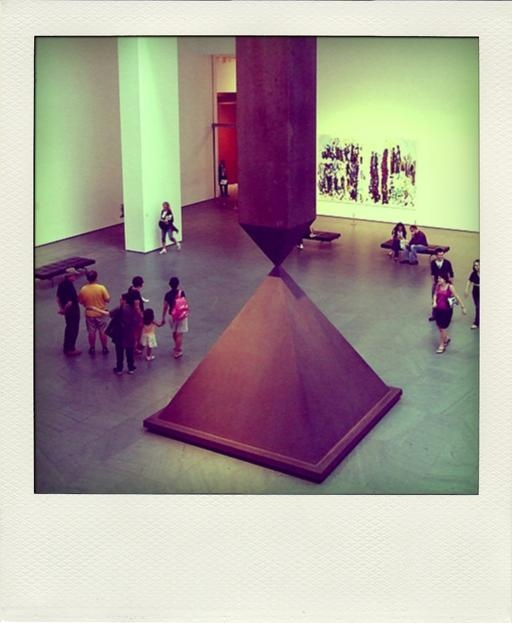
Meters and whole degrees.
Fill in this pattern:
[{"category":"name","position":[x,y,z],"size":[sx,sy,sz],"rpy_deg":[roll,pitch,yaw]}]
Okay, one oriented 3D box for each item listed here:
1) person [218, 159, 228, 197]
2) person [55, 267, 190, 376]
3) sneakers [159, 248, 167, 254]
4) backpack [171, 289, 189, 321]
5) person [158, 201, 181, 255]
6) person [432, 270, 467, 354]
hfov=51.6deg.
[{"category":"person","position":[-1.028,-4.127,16.456],"size":[0.267,1.135,0.603],"rpy_deg":[-1,10,4]},{"category":"person","position":[-1.728,0.167,6.806],"size":[0.947,1.061,0.515],"rpy_deg":[17,33,22]},{"category":"sneakers","position":[-1.980,-1.302,11.387],"size":[0.078,0.146,0.166],"rpy_deg":[5,6,43]},{"category":"backpack","position":[-0.889,-0.062,6.105],"size":[0.191,0.380,0.266],"rpy_deg":[-3,10,-10]},{"category":"person","position":[-1.888,-1.826,11.488],"size":[0.437,1.063,1.015],"rpy_deg":[-3,10,-8]},{"category":"person","position":[2.506,-0.051,6.926],"size":[0.360,1.020,1.434],"rpy_deg":[2,11,20]}]
